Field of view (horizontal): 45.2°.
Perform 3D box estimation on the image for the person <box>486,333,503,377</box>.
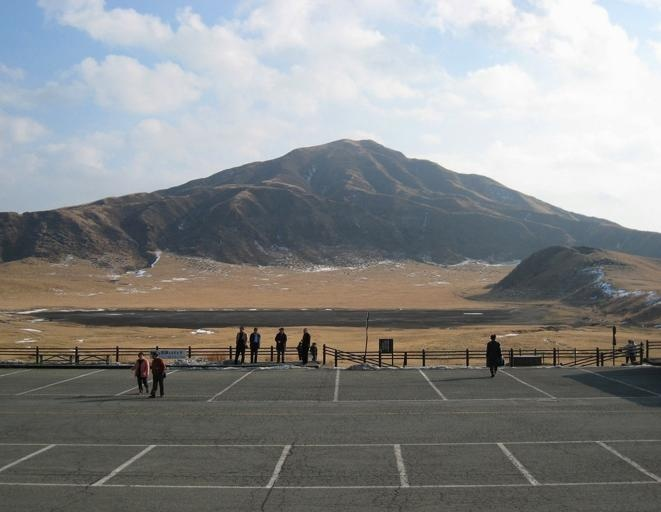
[{"bbox_3d":[8.021,4.912,39.129,0.647,2.175,0.990,3,10,15],"label":"person"}]
